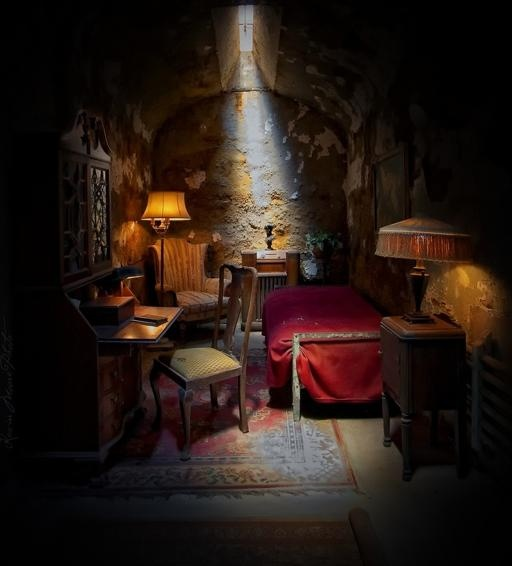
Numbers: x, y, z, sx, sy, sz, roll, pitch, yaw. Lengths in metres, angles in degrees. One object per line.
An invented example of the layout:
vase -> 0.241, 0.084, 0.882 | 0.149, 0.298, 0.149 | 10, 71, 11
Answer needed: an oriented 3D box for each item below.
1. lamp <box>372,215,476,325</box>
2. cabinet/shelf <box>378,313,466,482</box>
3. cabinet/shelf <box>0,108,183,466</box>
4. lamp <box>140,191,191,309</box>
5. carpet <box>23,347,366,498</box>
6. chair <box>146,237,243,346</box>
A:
lamp -> 0.787, -0.058, 2.187 | 0.313, 0.500, 0.387 | -1, 6, -10
cabinet/shelf -> 0.811, 0.537, 2.254 | 0.316, 0.726, 0.452 | 0, 6, 1
cabinet/shelf -> -0.840, 0.017, 2.327 | 0.550, 1.749, 0.695 | -1, 6, -4
lamp -> -0.912, -0.344, 4.447 | 0.378, 1.181, 0.425 | 12, 24, 15
carpet -> -0.259, 0.851, 2.927 | 1.511, 0.029, 1.848 | 2, 6, -4
chair -> -0.712, 0.035, 5.015 | 0.799, 1.250, 0.904 | -6, 2, 19
